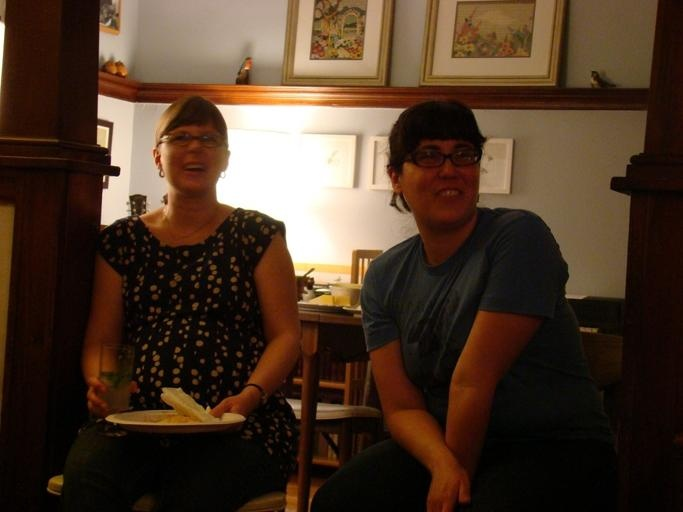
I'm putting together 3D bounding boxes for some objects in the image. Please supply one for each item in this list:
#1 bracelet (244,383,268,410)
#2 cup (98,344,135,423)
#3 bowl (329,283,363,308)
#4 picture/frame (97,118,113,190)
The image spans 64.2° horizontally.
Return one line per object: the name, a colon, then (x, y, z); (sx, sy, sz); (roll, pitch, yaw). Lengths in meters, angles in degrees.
bracelet: (-0.232, 0.381, 1.487); (0.025, 0.063, 0.055); (-26, -12, 32)
cup: (-0.571, 0.310, 1.382); (0.078, 0.179, 0.073); (0, 5, 0)
bowl: (0.017, 0.203, 2.778); (0.140, 0.092, 0.142); (0, -3, 0)
picture/frame: (-2.319, -1.077, 5.283); (0.240, 0.440, 0.033); (16, 19, 20)
